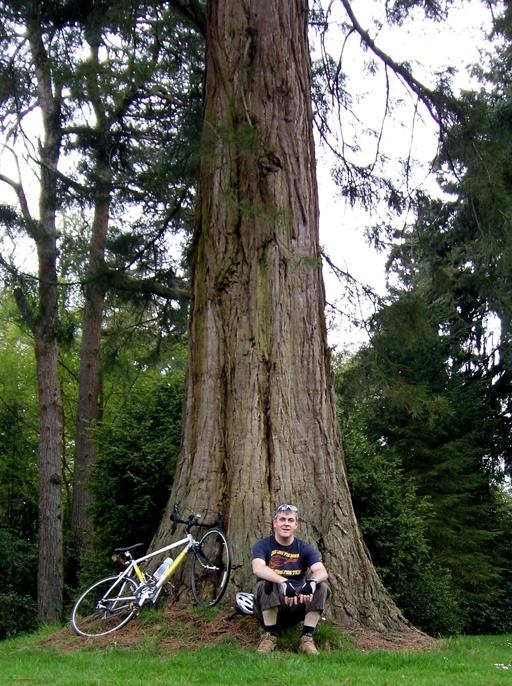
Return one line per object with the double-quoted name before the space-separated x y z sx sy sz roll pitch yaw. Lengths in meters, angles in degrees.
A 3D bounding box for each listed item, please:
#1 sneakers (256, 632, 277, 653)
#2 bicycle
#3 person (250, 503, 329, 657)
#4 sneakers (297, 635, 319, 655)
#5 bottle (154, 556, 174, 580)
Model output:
"sneakers" 0.070 2.121 4.187 0.140 0.100 0.281 -2 -15 3
"bicycle" -0.887 2.091 5.409 1.596 1.107 0.604 -6 -14 18
"person" 0.252 1.740 4.405 0.556 1.020 0.735 -1 -14 0
"sneakers" 0.360 2.145 4.202 0.124 0.092 0.234 -1 -15 -1
"bottle" -0.812 2.017 5.289 0.109 0.238 0.063 18 -14 27
